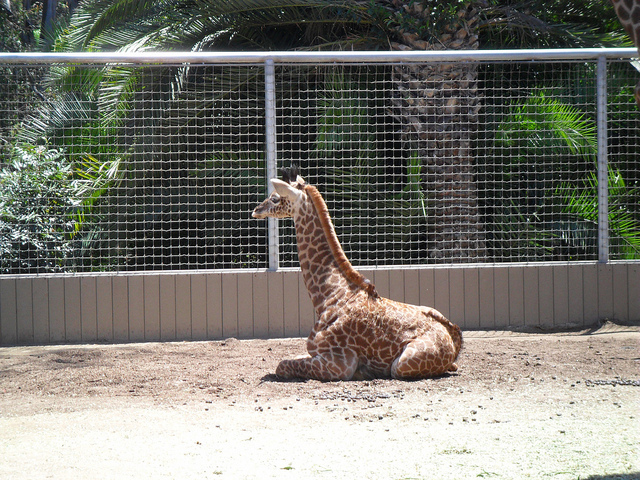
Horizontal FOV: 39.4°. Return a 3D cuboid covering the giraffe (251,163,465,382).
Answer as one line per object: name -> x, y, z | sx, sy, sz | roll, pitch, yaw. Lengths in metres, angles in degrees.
giraffe -> 0.369, 0.406, 9.011 | 2.144, 2.129, 1.314 | 5, -4, 5
